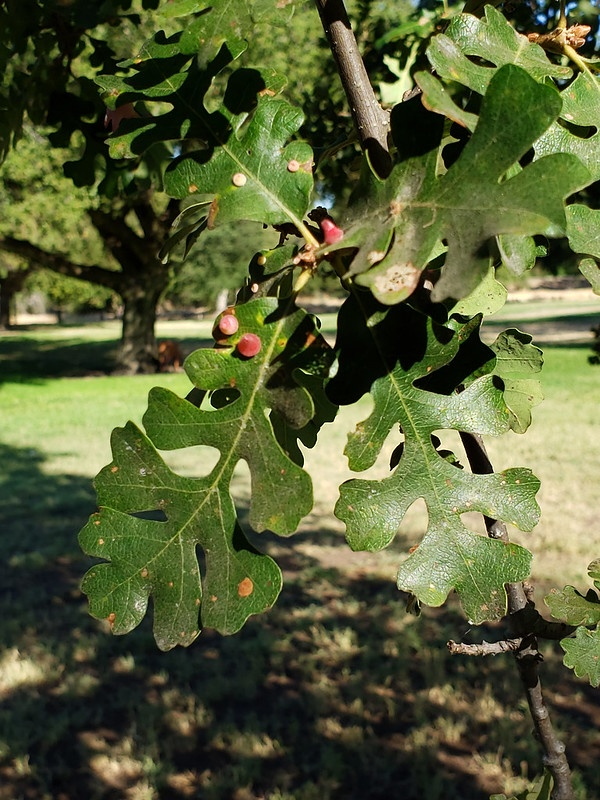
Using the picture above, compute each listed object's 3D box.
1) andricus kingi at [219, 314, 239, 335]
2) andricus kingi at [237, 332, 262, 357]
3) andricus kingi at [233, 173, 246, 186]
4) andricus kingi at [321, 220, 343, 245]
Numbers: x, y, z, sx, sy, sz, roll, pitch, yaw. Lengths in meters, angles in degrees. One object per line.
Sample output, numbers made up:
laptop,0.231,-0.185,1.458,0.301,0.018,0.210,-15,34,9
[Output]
andricus kingi,-0.099,-0.101,1.176,0.024,0.032,0.012,-9,16,-32
andricus kingi,-0.071,-0.074,1.182,0.037,0.030,0.035,12,9,3
andricus kingi,-0.088,-0.314,1.235,0.021,0.019,0.008,0,14,0
andricus kingi,0.042,-0.232,1.195,0.021,0.033,0.067,-2,12,-8
